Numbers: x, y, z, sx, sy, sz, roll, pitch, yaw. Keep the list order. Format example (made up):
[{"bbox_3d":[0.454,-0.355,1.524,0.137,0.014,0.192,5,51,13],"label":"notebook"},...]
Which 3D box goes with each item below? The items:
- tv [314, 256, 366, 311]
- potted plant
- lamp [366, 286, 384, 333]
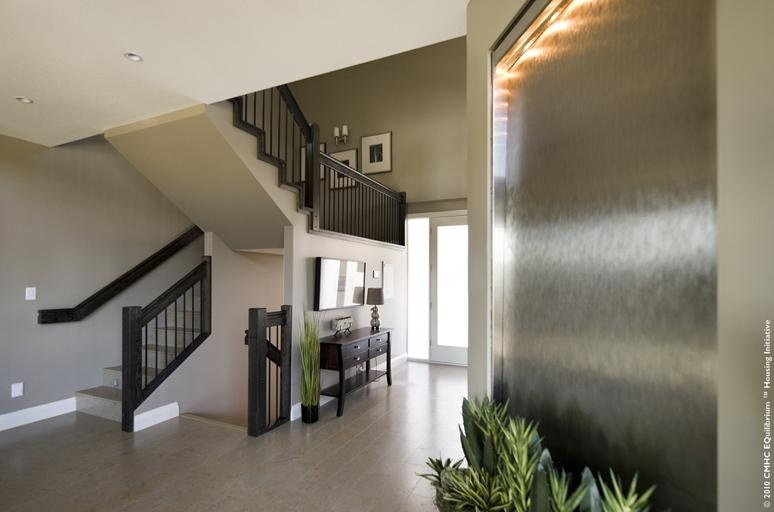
[{"bbox_3d":[-0.494,0.315,6.030,0.051,0.553,1.052,3,-1,26],"label":"tv"},{"bbox_3d":[-0.768,1.065,5.302,0.208,0.970,0.636,0,7,-9],"label":"potted plant"},{"bbox_3d":[-0.141,0.618,6.246,0.254,0.465,0.259,4,-13,-28],"label":"lamp"}]
